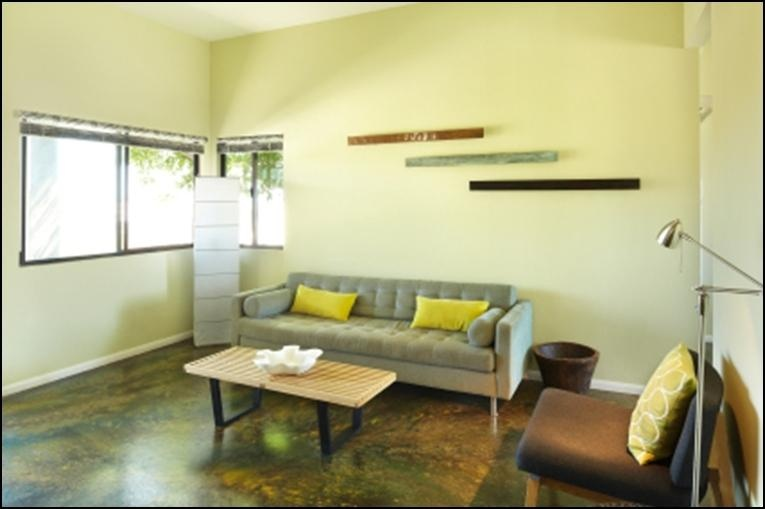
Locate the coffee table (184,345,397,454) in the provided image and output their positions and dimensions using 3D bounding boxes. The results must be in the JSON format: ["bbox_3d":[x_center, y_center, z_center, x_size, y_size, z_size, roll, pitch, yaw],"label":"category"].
[{"bbox_3d":[-0.708,1.163,4.171,1.568,0.609,0.716,3,7,20],"label":"coffee table"}]

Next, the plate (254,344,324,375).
[{"bbox_3d":[-0.741,0.836,4.057,0.317,0.092,0.301,-1,-2,24],"label":"plate"}]

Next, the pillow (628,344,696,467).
[{"bbox_3d":[1.796,0.964,3.268,0.326,0.509,0.638,-7,13,38],"label":"pillow"}]

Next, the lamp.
[{"bbox_3d":[1.977,0.598,3.240,0.520,1.627,1.036,4,8,22],"label":"lamp"}]

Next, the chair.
[{"bbox_3d":[1.605,1.243,3.483,1.134,1.035,1.173,3,6,23],"label":"chair"}]

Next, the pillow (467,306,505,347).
[{"bbox_3d":[0.942,0.653,4.577,0.218,0.264,0.425,5,8,32],"label":"pillow"}]
